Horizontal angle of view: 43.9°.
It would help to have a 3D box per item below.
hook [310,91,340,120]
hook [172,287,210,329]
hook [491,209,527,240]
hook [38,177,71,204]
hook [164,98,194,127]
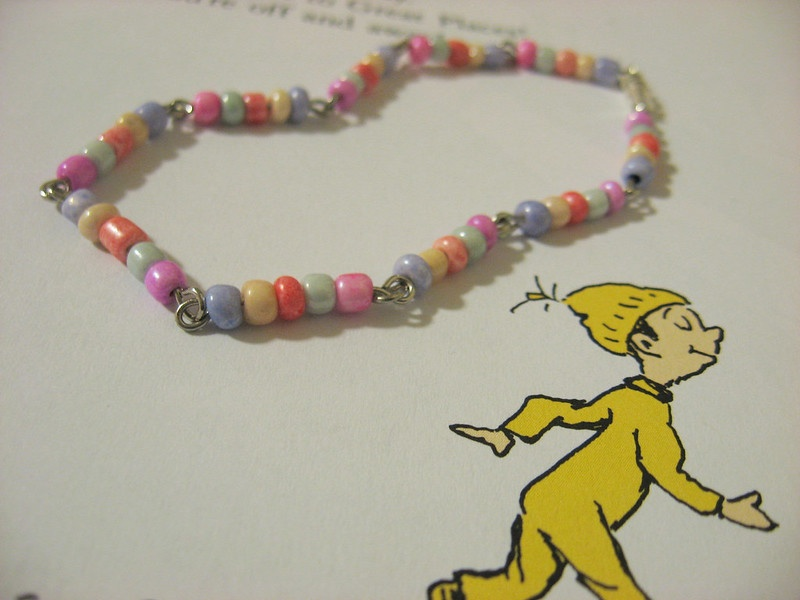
[{"bbox_3d":[-0.184,-0.460,2.363,0.053,0.020,0.055,-4,57,2],"label":"hook"},{"bbox_3d":[-0.412,0.015,1.932,0.061,0.054,0.095,-10,56,-27],"label":"hook"},{"bbox_3d":[0.233,-0.161,2.143,0.087,0.041,0.034,0,22,-34],"label":"hook"},{"bbox_3d":[-0.720,-0.229,2.077,0.064,0.033,0.048,-17,69,-40],"label":"hook"},{"bbox_3d":[-0.511,-0.436,2.283,0.050,0.024,0.067,-15,36,-21],"label":"hook"}]
